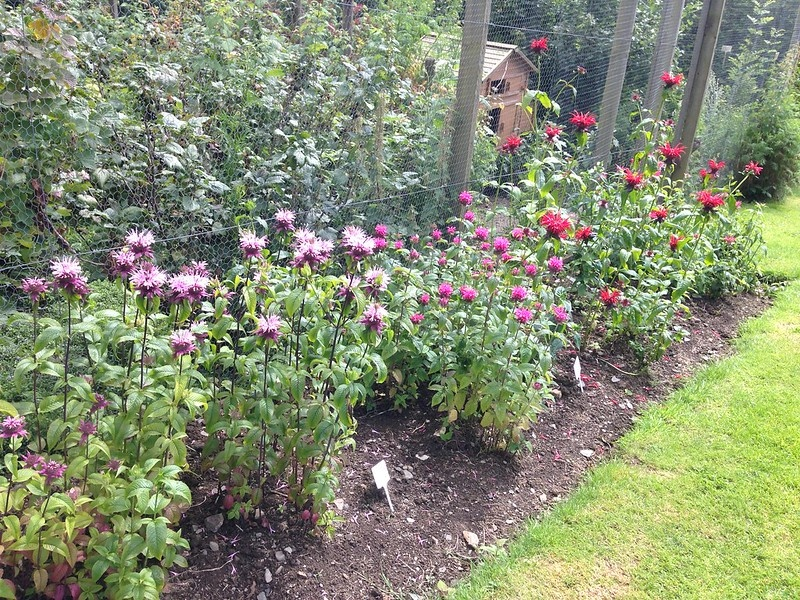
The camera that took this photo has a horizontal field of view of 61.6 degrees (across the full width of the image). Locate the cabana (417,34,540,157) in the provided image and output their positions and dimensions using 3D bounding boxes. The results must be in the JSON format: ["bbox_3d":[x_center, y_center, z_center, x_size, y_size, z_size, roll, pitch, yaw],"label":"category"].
[{"bbox_3d":[0.810,-2.186,6.527,0.898,1.182,1.057,-25,46,-26],"label":"cabana"}]
